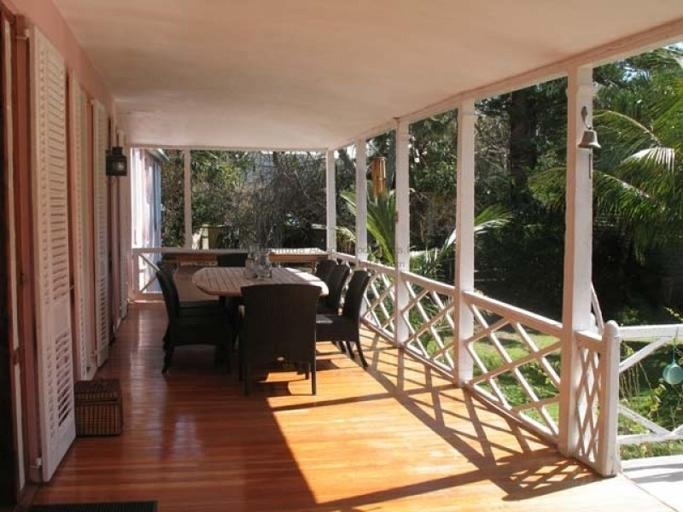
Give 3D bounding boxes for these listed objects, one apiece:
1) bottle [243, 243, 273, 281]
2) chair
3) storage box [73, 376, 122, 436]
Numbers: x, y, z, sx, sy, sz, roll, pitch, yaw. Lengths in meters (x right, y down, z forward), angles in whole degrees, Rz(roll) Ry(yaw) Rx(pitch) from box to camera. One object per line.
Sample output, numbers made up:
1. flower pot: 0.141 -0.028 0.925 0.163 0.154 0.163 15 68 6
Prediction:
1. bottle: -0.993 0.086 5.859 0.404 0.466 0.249 0 1 7
2. chair: -0.738 0.641 4.792 1.326 0.702 1.437 2 1 -8
3. storage box: -1.799 1.091 3.934 0.318 0.358 0.342 2 6 -9
